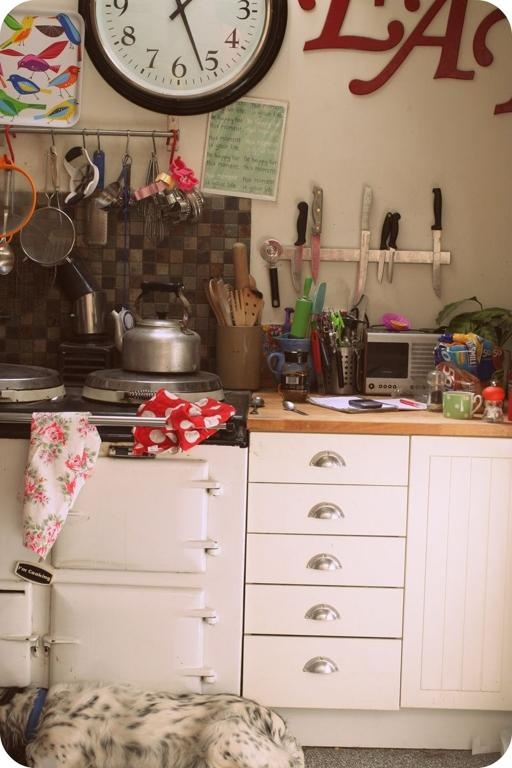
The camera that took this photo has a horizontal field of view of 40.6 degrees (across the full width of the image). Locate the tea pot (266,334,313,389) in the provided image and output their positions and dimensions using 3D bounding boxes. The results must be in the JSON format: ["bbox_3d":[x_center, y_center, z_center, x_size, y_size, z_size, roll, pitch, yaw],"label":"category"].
[{"bbox_3d":[0.090,-0.066,2.080,0.169,0.176,0.153,1,2,15],"label":"tea pot"}]

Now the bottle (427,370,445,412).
[{"bbox_3d":[0.495,0.016,1.910,0.040,0.104,0.147,2,5,15],"label":"bottle"}]

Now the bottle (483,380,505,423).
[{"bbox_3d":[0.607,0.052,1.778,0.051,0.086,0.072,2,6,18],"label":"bottle"}]

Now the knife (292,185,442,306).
[{"bbox_3d":[0.428,-0.458,2.294,0.432,0.389,0.047,1,5,3],"label":"knife"}]

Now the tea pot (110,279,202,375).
[{"bbox_3d":[-0.242,-0.152,1.945,0.307,0.290,0.235,3,3,7],"label":"tea pot"}]

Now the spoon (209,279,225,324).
[{"bbox_3d":[-0.126,-0.259,2.161,0.028,0.169,0.034,-5,-36,-8],"label":"spoon"}]

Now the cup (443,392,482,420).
[{"bbox_3d":[0.535,0.052,1.815,0.098,0.068,0.074,4,2,12],"label":"cup"}]

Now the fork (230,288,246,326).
[{"bbox_3d":[-0.059,-0.237,2.157,0.047,0.105,0.032,1,5,5],"label":"fork"}]
